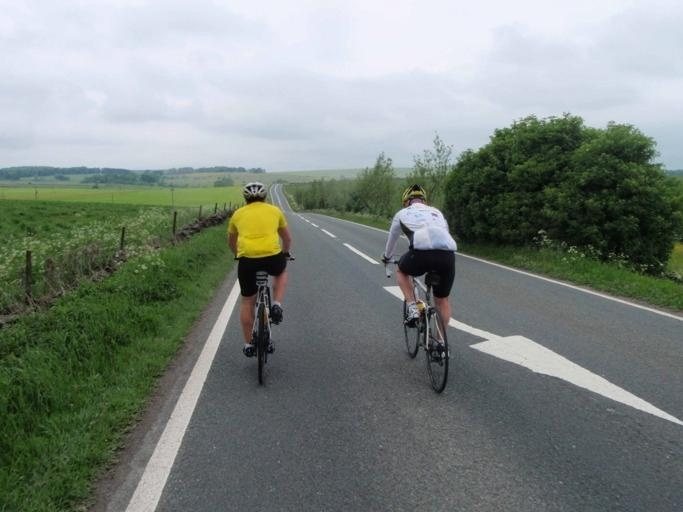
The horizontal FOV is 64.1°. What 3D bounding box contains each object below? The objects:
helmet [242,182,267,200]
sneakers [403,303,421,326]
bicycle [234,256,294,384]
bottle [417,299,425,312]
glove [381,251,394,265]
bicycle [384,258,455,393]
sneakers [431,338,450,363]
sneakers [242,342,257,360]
[{"bbox_3d":[-1.203,-0.896,7.542,0.218,0.201,0.337,1,26,-4],"label":"helmet"},{"bbox_3d":[0.973,0.788,7.504,0.128,0.178,0.351,3,11,-5],"label":"sneakers"},{"bbox_3d":[-1.036,0.792,7.558,0.609,0.929,1.470,-2,23,-7],"label":"bicycle"},{"bbox_3d":[1.088,0.698,7.471,0.121,0.184,0.396,0,-2,5],"label":"bottle"},{"bbox_3d":[0.675,0.053,8.028,0.103,0.129,0.230,-42,9,-11],"label":"glove"},{"bbox_3d":[1.112,1.015,7.675,0.650,1.416,2.113,-6,18,-10],"label":"bicycle"},{"bbox_3d":[1.253,1.219,6.900,0.196,0.124,0.309,7,39,16],"label":"sneakers"},{"bbox_3d":[-1.240,1.286,7.366,0.155,0.207,0.162,2,11,1],"label":"sneakers"}]
